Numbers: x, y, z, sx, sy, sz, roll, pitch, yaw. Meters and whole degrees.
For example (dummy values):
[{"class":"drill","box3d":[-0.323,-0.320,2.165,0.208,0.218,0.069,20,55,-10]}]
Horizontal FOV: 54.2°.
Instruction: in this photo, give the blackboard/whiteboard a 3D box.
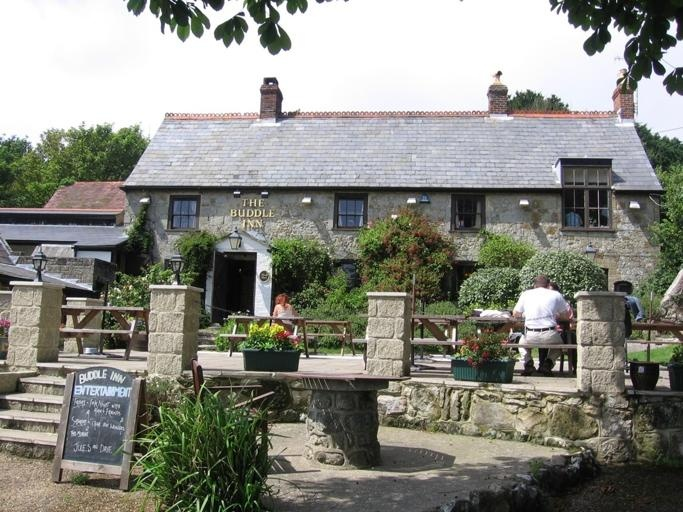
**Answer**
[{"class":"blackboard/whiteboard","box3d":[-2.874,1.965,8.059,0.995,1.299,0.536,1,0,10]}]

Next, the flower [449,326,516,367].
[{"class":"flower","box3d":[2.144,1.352,10.207,0.605,0.440,0.613,0,11,22]}]

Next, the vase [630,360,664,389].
[{"class":"vase","box3d":[4.472,1.720,9.837,0.408,0.355,0.410,-3,-7,21]}]

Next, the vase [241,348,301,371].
[{"class":"vase","box3d":[-1.120,1.632,10.604,0.628,0.223,0.414,2,-4,-18]}]

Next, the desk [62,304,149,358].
[{"class":"desk","box3d":[-4.349,1.287,12.897,1.357,0.750,1.535,23,-14,-10]}]

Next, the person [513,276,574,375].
[{"class":"person","box3d":[3.276,1.181,11.139,0.855,1.707,1.135,8,13,28]}]

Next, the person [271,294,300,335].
[{"class":"person","box3d":[-1.139,1.324,13.959,0.551,1.159,0.646,1,-9,-25]}]

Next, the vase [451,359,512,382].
[{"class":"vase","box3d":[2.131,1.717,10.134,0.646,0.234,0.437,-2,-5,16]}]
